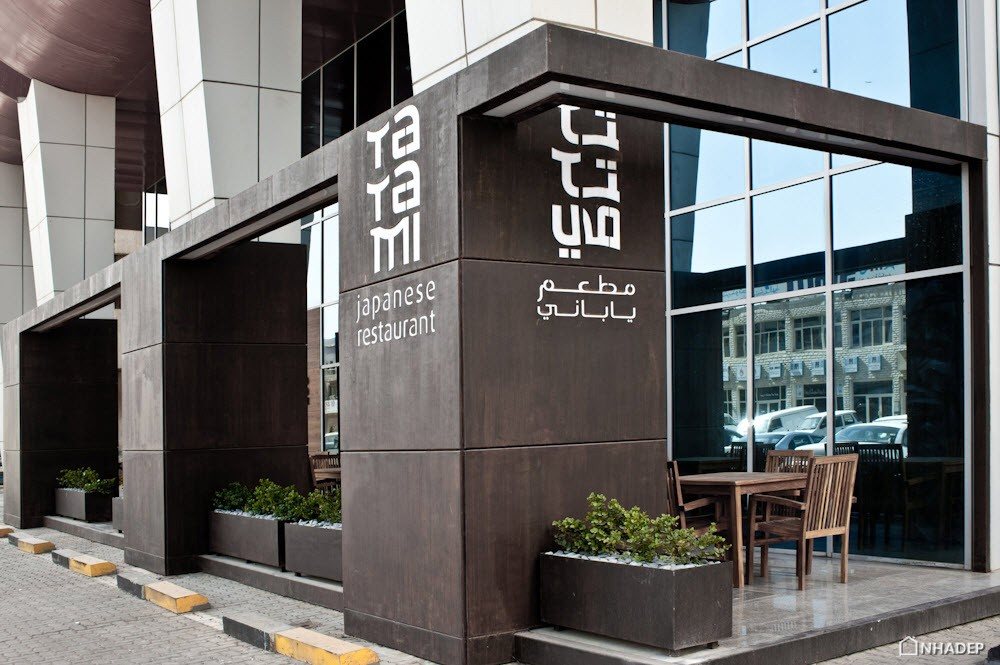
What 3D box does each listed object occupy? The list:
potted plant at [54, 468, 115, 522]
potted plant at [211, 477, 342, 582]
[{"bbox_3d":[-8.422,3.271,21.398,0.923,1.109,2.458,5,-11,-27],"label":"potted plant"},{"bbox_3d":[-3.059,2.712,14.443,0.937,1.235,3.669,5,-11,-28],"label":"potted plant"}]
